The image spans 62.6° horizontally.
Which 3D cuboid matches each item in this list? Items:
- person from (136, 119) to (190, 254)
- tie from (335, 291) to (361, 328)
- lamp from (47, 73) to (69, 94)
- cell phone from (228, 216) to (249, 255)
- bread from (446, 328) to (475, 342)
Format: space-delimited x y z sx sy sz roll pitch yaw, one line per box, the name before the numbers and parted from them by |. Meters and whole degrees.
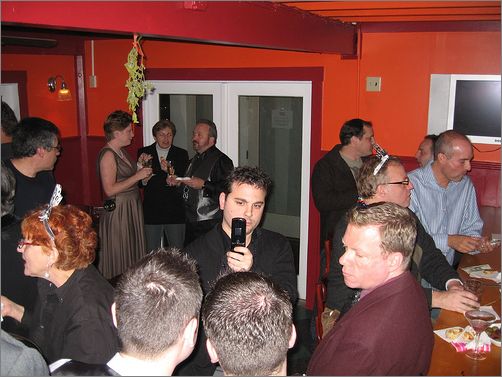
person | -1.263 0.284 5.761 0.739 2.344 0.727 0 19 -9
tie | 0.590 0.733 2.569 0.141 0.109 0.186 29 43 33
lamp | -3.166 -1.683 6.648 0.291 0.371 0.273 -4 20 -9
cell phone | -0.077 0.293 2.563 0.094 0.207 0.088 0 10 -10
bread | 1.378 0.958 2.712 0.103 0.029 0.085 1 4 29
